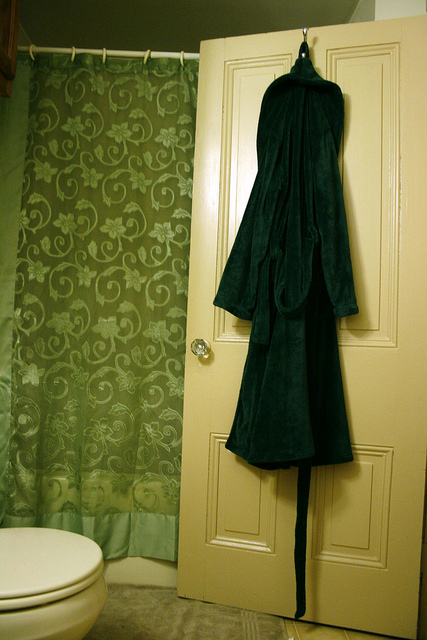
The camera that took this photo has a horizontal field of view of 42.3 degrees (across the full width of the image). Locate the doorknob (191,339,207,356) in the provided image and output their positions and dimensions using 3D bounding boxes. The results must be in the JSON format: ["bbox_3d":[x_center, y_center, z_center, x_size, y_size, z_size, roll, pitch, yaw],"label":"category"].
[{"bbox_3d":[-0.045,0.083,1.708,0.043,0.045,0.027,-43,-13,24],"label":"doorknob"}]

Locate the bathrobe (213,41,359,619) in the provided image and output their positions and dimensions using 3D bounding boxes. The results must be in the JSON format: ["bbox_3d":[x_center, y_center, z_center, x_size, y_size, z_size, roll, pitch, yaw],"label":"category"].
[{"bbox_3d":[0.232,-0.155,1.596,0.321,1.108,0.354,-2,8,-36],"label":"bathrobe"}]

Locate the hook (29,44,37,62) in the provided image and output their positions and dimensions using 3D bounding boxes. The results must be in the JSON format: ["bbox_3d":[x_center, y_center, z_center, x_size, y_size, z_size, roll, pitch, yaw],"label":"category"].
[{"bbox_3d":[-0.624,-0.924,1.906,0.035,0.011,0.038,2,-45,-10],"label":"hook"}]
